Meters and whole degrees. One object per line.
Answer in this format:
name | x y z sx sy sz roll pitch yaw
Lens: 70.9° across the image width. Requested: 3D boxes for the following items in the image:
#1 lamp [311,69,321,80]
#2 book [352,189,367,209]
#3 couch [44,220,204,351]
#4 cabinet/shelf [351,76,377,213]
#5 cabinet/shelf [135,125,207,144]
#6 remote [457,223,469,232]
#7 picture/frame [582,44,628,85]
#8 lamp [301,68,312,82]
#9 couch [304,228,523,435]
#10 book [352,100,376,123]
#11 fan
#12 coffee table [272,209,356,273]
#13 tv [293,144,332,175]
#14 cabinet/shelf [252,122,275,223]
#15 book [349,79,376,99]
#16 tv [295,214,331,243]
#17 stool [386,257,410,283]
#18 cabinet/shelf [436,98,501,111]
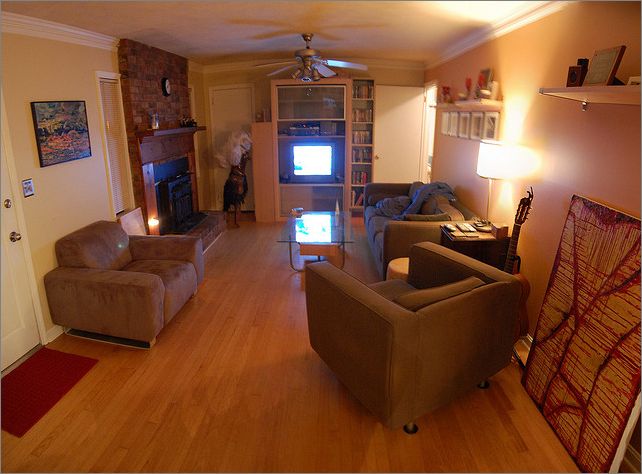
lamp | -0.058 -1.970 5.432 0.102 0.161 0.085 -2 41 8
book | 0.676 -0.710 8.353 0.284 0.310 0.081 4 0 27
couch | -1.993 0.389 4.580 1.139 0.984 1.219 7 21 5
cabinet/shelf | 0.736 -1.818 8.028 0.372 1.819 0.210 0 8 1
cabinet/shelf | -2.061 -1.430 6.166 0.247 0.155 1.478 1 17 6
remote | 1.465 -0.099 4.671 0.084 0.021 0.086 -7 24 -14
picture/frame | 2.023 -1.227 3.222 0.231 0.265 0.300 11 21 33
lamp | -0.173 -1.898 5.275 0.127 0.099 0.185 -2 17 -3
couch | 0.709 0.718 3.757 1.382 0.987 1.052 -10 19 -26
book | 0.747 -2.219 7.966 0.367 0.387 0.175 1 17 7
fan | -0.174 -2.540 6.607 1.043 0.313 1.122 -4 16 -11
coffee table | -0.061 -0.009 5.803 0.697 0.404 1.184 0 24 2
tv | -0.148 -1.331 7.786 0.768 0.585 0.409 1 15 1
cabinet/shelf | -0.985 -1.091 7.726 0.410 1.697 0.262 0 17 1
book | 0.734 -2.572 7.839 0.345 0.306 0.106 2 18 10
tv | -0.089 -0.099 5.899 0.336 0.132 0.539 0 30 -1
stool | 0.812 0.333 4.752 0.218 0.171 0.225 2 23 6
cabinet/shelf | 1.776 -1.602 5.499 0.358 0.166 1.540 0 17 2
